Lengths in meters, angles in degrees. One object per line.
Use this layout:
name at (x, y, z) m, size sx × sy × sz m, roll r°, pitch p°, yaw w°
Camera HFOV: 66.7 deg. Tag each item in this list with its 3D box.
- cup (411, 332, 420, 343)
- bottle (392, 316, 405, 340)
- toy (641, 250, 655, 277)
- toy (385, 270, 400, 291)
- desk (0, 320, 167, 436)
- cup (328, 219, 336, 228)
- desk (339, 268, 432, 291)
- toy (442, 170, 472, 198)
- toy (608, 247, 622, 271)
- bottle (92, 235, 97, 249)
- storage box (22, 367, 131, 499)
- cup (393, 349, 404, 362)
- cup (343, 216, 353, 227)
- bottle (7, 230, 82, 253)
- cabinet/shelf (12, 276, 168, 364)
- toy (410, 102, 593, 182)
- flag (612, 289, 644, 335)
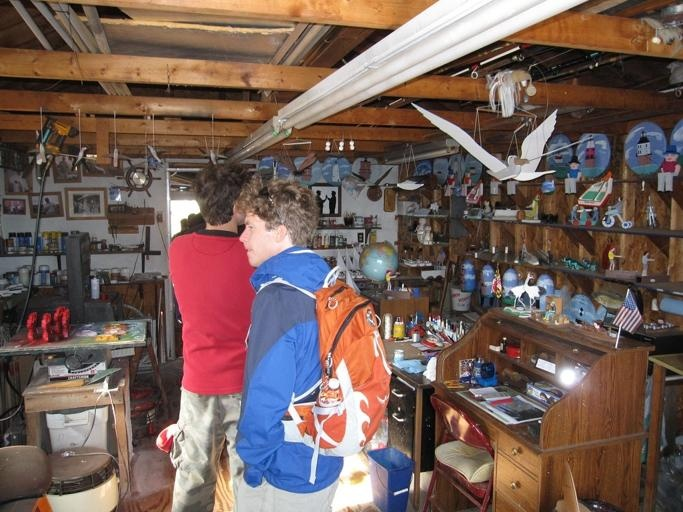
cup at (0.791, 0.880, 5.601) m, size 0.087 × 0.096 × 0.086 m, roll 1°, pitch 5°, yaw 0°
bottle at (0.625, 0.787, 5.715) m, size 0.145 × 0.238 × 0.213 m, roll -2°, pitch 3°, yaw 5°
toy at (3.066, 0.061, 5.205) m, size 0.117 × 0.206 × 0.259 m, roll -1°, pitch 3°, yaw 30°
toy at (0.643, 0.315, 6.846) m, size 0.233 × 0.308 × 0.303 m, roll 0°, pitch -3°, yaw 14°
desk at (-2.309, 1.064, 4.743) m, size 1.125 × 0.686 × 1.085 m, roll -2°, pitch 3°, yaw -32°
cup at (-0.189, -0.642, 9.864) m, size 0.100 × 0.180 × 0.176 m, roll 3°, pitch 5°, yaw 21°
desk at (0.622, 0.403, 8.073) m, size 0.838 × 0.443 × 0.578 m, roll -2°, pitch -6°, yaw 16°
toy at (1.799, -1.110, 8.024) m, size 0.352 × 0.269 × 0.353 m, roll 3°, pitch 7°, yaw 30°
toy at (2.884, 0.019, 5.507) m, size 0.110 × 0.236 × 0.269 m, roll 0°, pitch 4°, yaw 39°
bottle at (-4.205, -0.240, 8.861) m, size 0.103 × 0.254 × 0.137 m, roll -4°, pitch 3°, yaw -26°
storage box at (-2.334, 1.616, 4.699) m, size 0.807 × 1.149 × 0.413 m, roll -3°, pitch 3°, yaw -15°
cup at (0.562, 0.975, 5.105) m, size 0.085 × 0.088 × 0.084 m, roll 1°, pitch -1°, yaw 0°
cup at (0.132, -0.686, 9.977) m, size 0.193 × 0.139 × 0.191 m, roll 0°, pitch -2°, yaw 0°
bottle at (-4.933, -0.220, 8.457) m, size 0.911 × 0.397 × 0.411 m, roll -3°, pitch 3°, yaw -27°
cabinet/shelf at (-2.925, 0.717, 5.948) m, size 1.006 × 0.348 × 1.476 m, roll -2°, pitch 4°, yaw -11°
toy at (1.157, -0.799, 4.140) m, size 0.987 × 0.385 × 0.889 m, roll -2°, pitch 7°, yaw -19°
flag at (2.094, 0.410, 3.808) m, size 0.185 × 0.358 × 0.271 m, roll -1°, pitch 3°, yaw 28°
